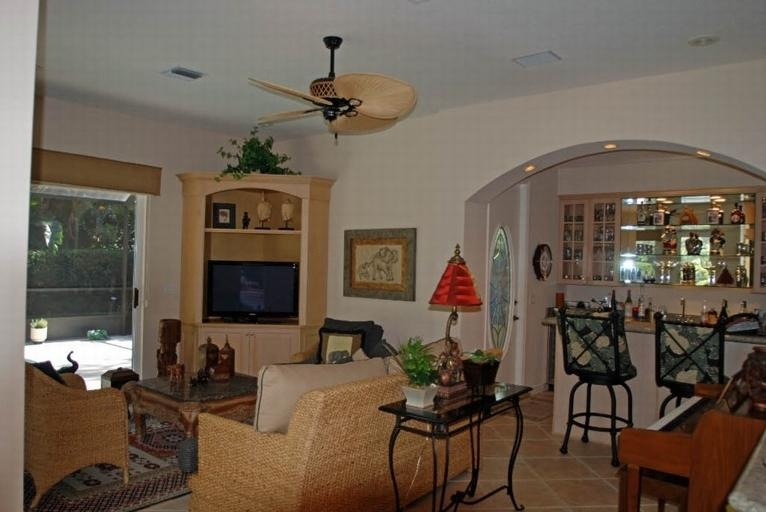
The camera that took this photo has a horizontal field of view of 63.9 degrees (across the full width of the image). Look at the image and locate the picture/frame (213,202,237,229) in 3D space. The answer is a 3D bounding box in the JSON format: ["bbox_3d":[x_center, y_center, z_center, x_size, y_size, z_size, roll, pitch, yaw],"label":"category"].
[{"bbox_3d":[-2.004,-0.507,7.705,0.344,0.384,0.032,4,-12,-24],"label":"picture/frame"}]

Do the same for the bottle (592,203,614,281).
[{"bbox_3d":[3.053,-0.203,8.488,0.342,1.089,0.208,4,9,22],"label":"bottle"}]

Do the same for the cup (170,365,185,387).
[{"bbox_3d":[-1.996,1.167,5.944,0.189,0.237,0.182,1,-3,0],"label":"cup"}]

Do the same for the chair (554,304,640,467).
[{"bbox_3d":[2.061,1.218,5.968,0.746,1.448,0.664,4,9,22],"label":"chair"}]

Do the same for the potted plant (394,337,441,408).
[{"bbox_3d":[0.290,0.879,4.410,0.228,0.373,0.268,-11,-12,30],"label":"potted plant"}]

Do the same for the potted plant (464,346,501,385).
[{"bbox_3d":[0.817,0.870,4.860,0.293,0.239,0.344,-2,-4,34],"label":"potted plant"}]

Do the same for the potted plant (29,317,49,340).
[{"bbox_3d":[-3.807,0.815,6.761,0.229,0.287,0.218,1,-4,-3],"label":"potted plant"}]

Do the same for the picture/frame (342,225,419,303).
[{"bbox_3d":[0.003,0.103,7.250,0.992,0.787,0.084,1,-3,37],"label":"picture/frame"}]

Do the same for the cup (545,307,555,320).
[{"bbox_3d":[2.300,0.796,8.478,0.138,0.125,0.073,8,-16,-39],"label":"cup"}]

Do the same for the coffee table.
[{"bbox_3d":[-1.771,1.524,5.965,1.365,0.453,1.336,1,-25,-5],"label":"coffee table"}]

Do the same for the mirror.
[{"bbox_3d":[4.072,-0.146,7.898,1.173,0.960,0.157,1,-2,34],"label":"mirror"}]
